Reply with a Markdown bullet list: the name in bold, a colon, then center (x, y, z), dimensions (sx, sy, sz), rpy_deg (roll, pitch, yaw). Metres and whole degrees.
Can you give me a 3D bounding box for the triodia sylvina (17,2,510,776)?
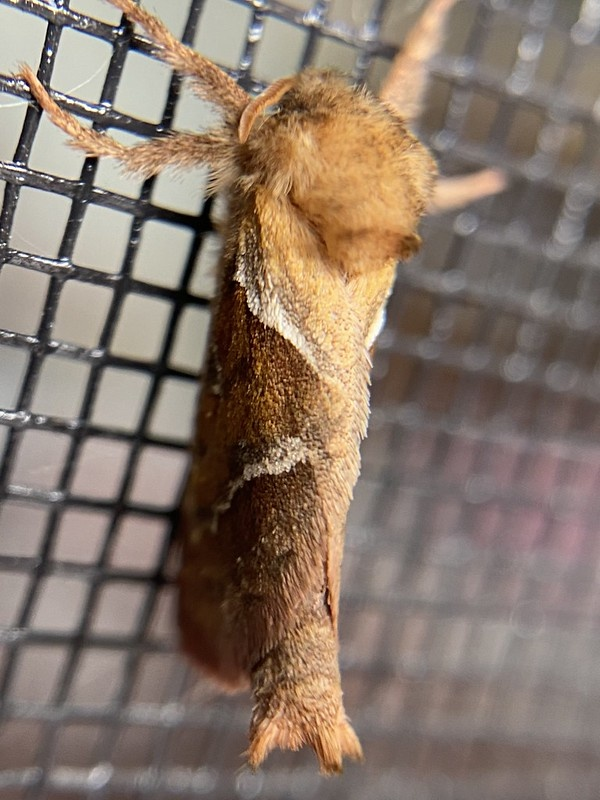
- **triodia sylvina**: center (-0.031, -0.027, 0.651), dimensions (0.440, 0.152, 0.472), rpy_deg (4, -92, -13)
